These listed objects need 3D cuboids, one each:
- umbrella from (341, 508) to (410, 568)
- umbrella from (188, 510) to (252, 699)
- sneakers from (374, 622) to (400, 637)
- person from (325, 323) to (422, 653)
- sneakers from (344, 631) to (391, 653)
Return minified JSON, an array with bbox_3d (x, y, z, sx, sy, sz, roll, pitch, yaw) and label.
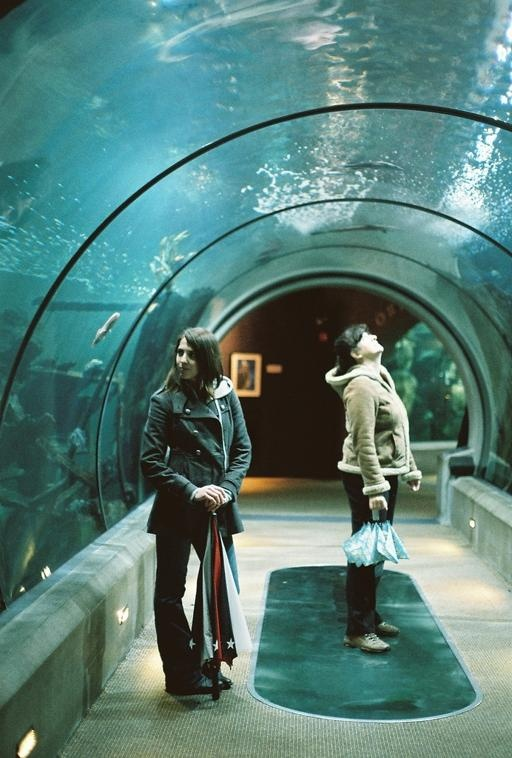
[{"bbox_3d":[0.716,0.925,3.534,0.373,0.363,0.312,-1,-1,6],"label":"umbrella"},{"bbox_3d":[-0.179,1.120,2.826,0.260,0.839,0.157,0,5,5],"label":"umbrella"},{"bbox_3d":[0.896,1.708,3.948,0.165,0.065,0.064,1,2,4],"label":"sneakers"},{"bbox_3d":[0.725,0.684,3.723,0.538,2.090,0.688,-1,-5,24],"label":"person"},{"bbox_3d":[0.701,1.649,3.649,0.244,0.112,0.110,-3,-4,26],"label":"sneakers"}]
